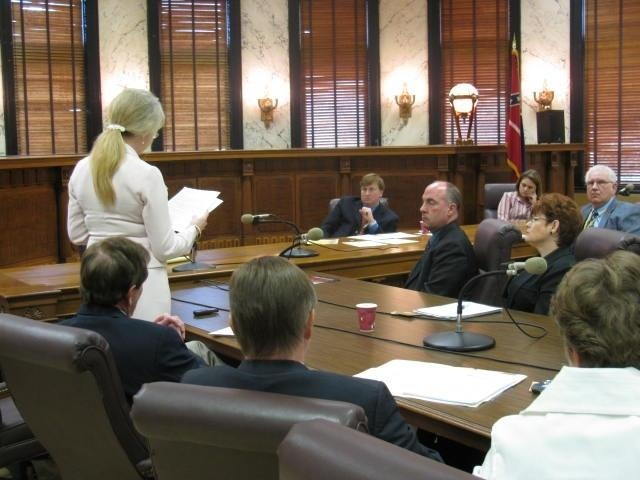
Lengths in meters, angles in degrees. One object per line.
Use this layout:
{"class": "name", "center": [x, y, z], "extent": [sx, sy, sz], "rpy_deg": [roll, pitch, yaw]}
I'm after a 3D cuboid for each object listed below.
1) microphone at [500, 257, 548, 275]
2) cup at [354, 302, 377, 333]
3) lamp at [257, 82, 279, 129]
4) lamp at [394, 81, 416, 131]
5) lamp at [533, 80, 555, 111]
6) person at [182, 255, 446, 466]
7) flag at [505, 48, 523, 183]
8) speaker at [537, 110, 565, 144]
{"class": "microphone", "center": [0.928, 0.124, 2.424], "extent": [0.110, 0.082, 0.192], "rpy_deg": [-1, -4, -30]}
{"class": "cup", "center": [0.208, 0.347, 2.369], "extent": [0.101, 0.111, 0.106], "rpy_deg": [0, -3, 0]}
{"class": "lamp", "center": [-0.798, -2.035, 8.085], "extent": [0.280, 0.622, 0.144], "rpy_deg": [-1, -2, -7]}
{"class": "lamp", "center": [1.332, -2.108, 8.352], "extent": [0.312, 0.713, 0.145], "rpy_deg": [0, 9, 5]}
{"class": "lamp", "center": [3.518, -2.266, 8.315], "extent": [0.309, 0.462, 0.175], "rpy_deg": [3, 10, 21]}
{"class": "person", "center": [-0.059, 0.406, 1.499], "extent": [0.819, 0.675, 0.468], "rpy_deg": [-2, 4, 20]}
{"class": "flag", "center": [2.679, -1.766, 7.183], "extent": [0.239, 1.818, 0.634], "rpy_deg": [3, 10, 19]}
{"class": "speaker", "center": [3.371, -1.637, 7.734], "extent": [0.369, 0.482, 0.304], "rpy_deg": [3, 10, 21]}
